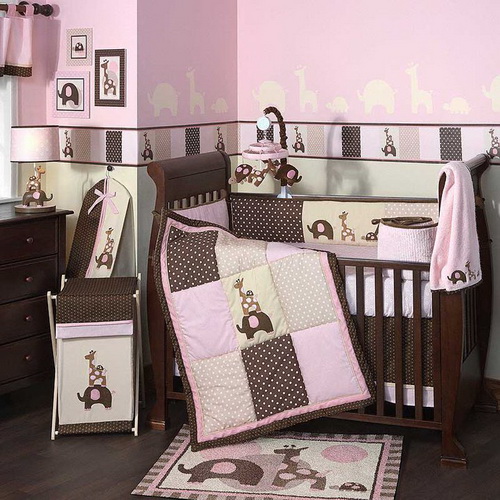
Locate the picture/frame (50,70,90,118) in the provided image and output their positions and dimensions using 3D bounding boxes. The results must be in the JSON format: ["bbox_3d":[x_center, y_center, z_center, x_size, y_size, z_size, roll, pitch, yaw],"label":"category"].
[{"bbox_3d":[-0.960,-0.845,2.642,0.204,0.263,0.009,6,7,29],"label":"picture/frame"}]

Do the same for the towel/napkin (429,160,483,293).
[{"bbox_3d":[0.707,-0.083,1.698,0.118,0.437,0.230,1,2,41],"label":"towel/napkin"}]

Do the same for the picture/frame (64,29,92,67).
[{"bbox_3d":[-0.899,-1.066,2.580,0.165,0.248,0.014,2,2,28],"label":"picture/frame"}]

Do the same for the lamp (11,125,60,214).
[{"bbox_3d":[-1.083,-0.387,2.472,0.207,0.423,0.493,-1,2,-26],"label":"lamp"}]

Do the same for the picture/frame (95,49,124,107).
[{"bbox_3d":[-0.718,-0.876,2.522,0.152,0.317,0.021,-2,-6,-5],"label":"picture/frame"}]
